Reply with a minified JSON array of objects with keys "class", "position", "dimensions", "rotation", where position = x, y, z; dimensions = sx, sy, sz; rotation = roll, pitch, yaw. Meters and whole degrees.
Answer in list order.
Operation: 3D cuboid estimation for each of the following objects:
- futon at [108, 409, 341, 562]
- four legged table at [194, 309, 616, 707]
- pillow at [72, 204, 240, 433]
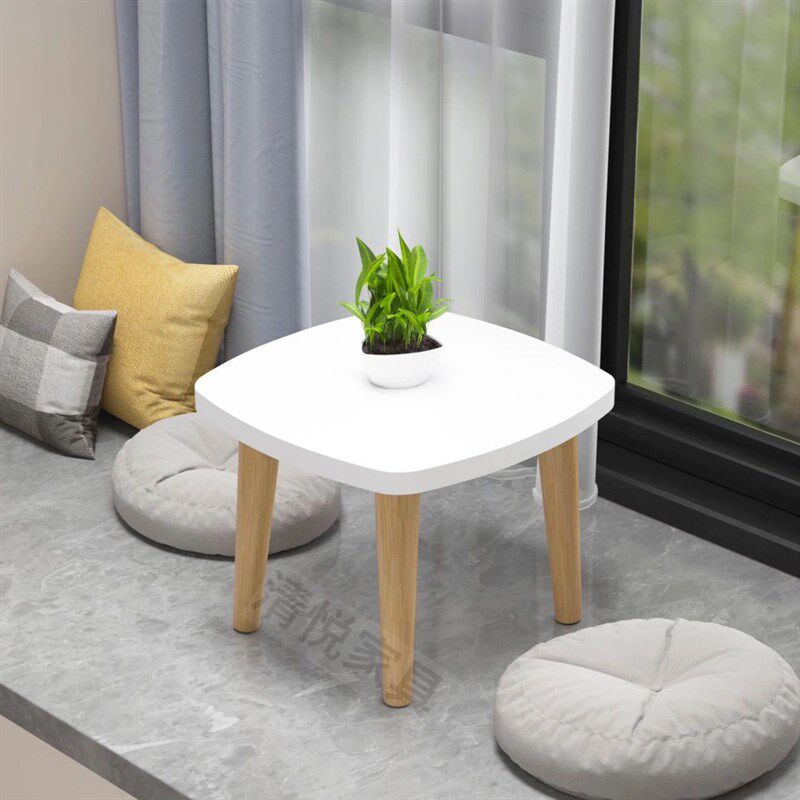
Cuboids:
[{"class":"futon","position":[-0.375,0.158,1.573],"dimensions":[0.377,0.094,0.382],"rotation":[5,24,-19]},{"class":"four legged table","position":[-0.033,0.209,1.255],"dimensions":[0.548,0.418,0.543],"rotation":[25,36,39]},{"class":"pillow","position":[-0.559,-0.171,1.771],"dimensions":[0.436,0.370,0.210],"rotation":[24,33,38]}]
